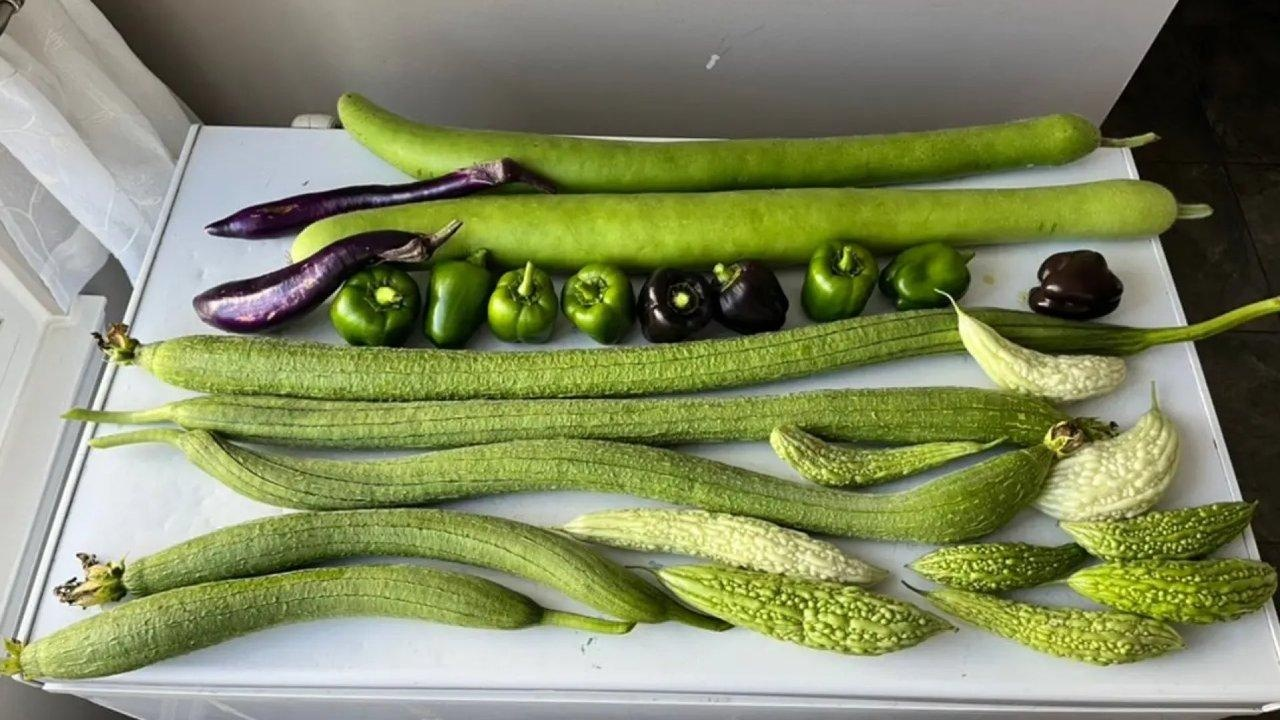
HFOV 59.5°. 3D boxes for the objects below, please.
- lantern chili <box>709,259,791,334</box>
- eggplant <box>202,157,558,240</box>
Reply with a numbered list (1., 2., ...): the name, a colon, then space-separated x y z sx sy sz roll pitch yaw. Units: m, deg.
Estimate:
1. lantern chili: 0.304 -0.177 3.218 0.161 0.199 0.154 9 57 45
2. eggplant: -0.757 -0.472 3.330 0.835 0.102 0.139 -10 55 9
